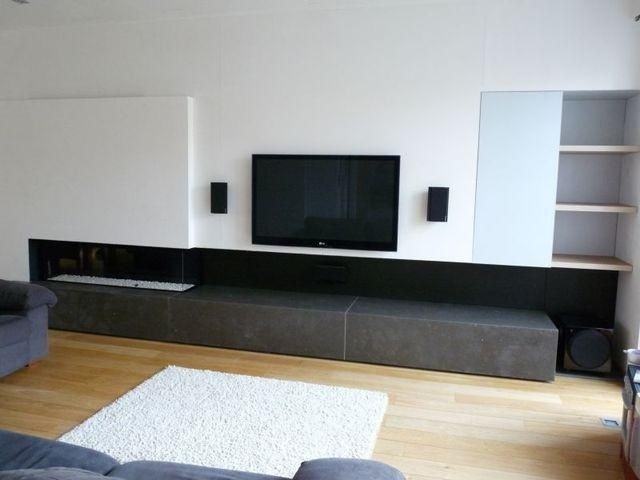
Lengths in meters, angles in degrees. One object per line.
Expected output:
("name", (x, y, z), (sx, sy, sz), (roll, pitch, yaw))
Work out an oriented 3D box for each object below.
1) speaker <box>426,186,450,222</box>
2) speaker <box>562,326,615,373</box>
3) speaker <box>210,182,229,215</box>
("speaker", (1.092, -0.339, 4.889), (0.202, 0.311, 0.118), (4, 14, 12))
("speaker", (2.426, 0.970, 4.865), (0.390, 0.452, 0.428), (1, 3, 15))
("speaker", (-1.028, -0.422, 5.312), (0.184, 0.328, 0.121), (0, 14, -4))
